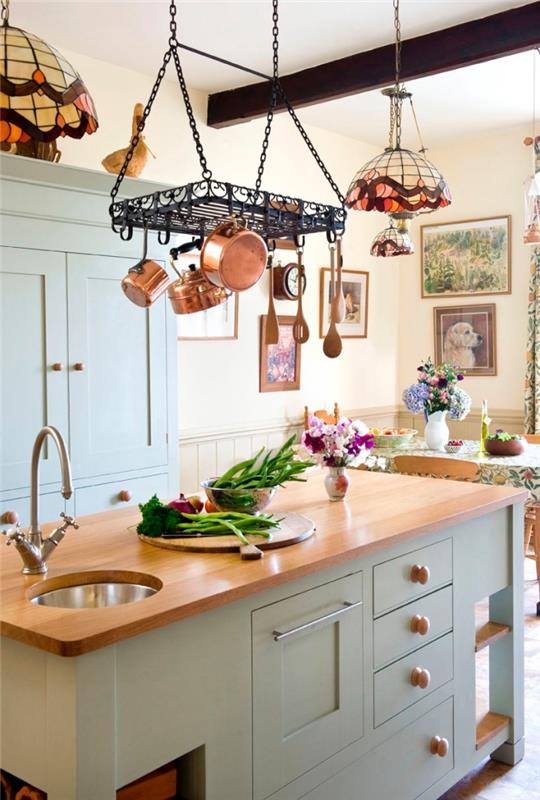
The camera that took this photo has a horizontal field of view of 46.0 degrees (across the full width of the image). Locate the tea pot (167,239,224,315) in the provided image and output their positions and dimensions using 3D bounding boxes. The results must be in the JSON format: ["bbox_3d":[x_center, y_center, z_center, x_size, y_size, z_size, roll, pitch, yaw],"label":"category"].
[{"bbox_3d":[-0.203,-0.329,1.671,0.140,0.167,0.150,-9,22,4],"label":"tea pot"}]

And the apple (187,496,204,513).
[{"bbox_3d":[-0.211,0.294,1.796,0.032,0.036,0.045,-3,-4,-2],"label":"apple"}]

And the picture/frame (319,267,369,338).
[{"bbox_3d":[0.618,-0.811,5.335,0.529,0.550,0.011,-3,6,-37],"label":"picture/frame"}]

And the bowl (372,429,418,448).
[{"bbox_3d":[0.861,0.256,4.322,0.231,0.068,0.229,-4,3,0],"label":"bowl"}]

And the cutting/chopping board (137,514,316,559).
[{"bbox_3d":[-0.065,0.339,1.615,0.458,0.034,0.273,-5,5,-29],"label":"cutting/chopping board"}]

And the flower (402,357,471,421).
[{"bbox_3d":[1.104,-0.010,4.252,0.429,0.477,0.422,2,17,-1],"label":"flower"}]

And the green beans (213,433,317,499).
[{"bbox_3d":[-0.045,0.260,2.614,0.360,0.138,0.265,-21,23,-17],"label":"green beans"}]

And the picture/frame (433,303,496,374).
[{"bbox_3d":[1.687,-0.536,5.437,0.639,0.804,0.035,-1,0,40],"label":"picture/frame"}]

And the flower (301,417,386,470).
[{"bbox_3d":[0.211,0.138,2.125,0.169,0.141,0.194,2,-3,-33],"label":"flower"}]

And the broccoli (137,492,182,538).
[{"bbox_3d":[-0.284,0.296,1.636,0.105,0.062,0.108,22,14,31],"label":"broccoli"}]

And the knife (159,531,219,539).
[{"bbox_3d":[-0.203,0.333,1.575,0.131,0.015,0.014,0,-7,-1],"label":"knife"}]
